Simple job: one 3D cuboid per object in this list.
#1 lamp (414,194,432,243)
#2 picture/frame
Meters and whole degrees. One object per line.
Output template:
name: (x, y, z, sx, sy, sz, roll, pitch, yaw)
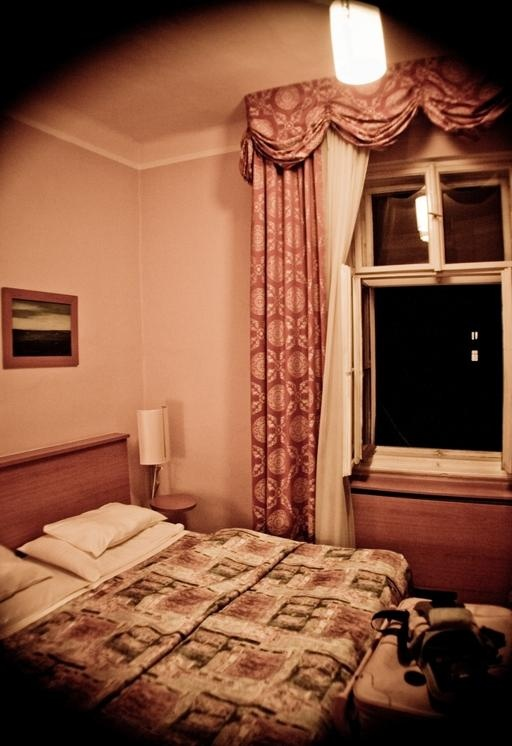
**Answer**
lamp: (0.738, -0.683, 2.429, 0.072, 0.216, 0.040, 1, 4, 42)
picture/frame: (-0.930, -0.193, 2.350, 0.023, 0.309, 0.358, 0, 1, 26)
